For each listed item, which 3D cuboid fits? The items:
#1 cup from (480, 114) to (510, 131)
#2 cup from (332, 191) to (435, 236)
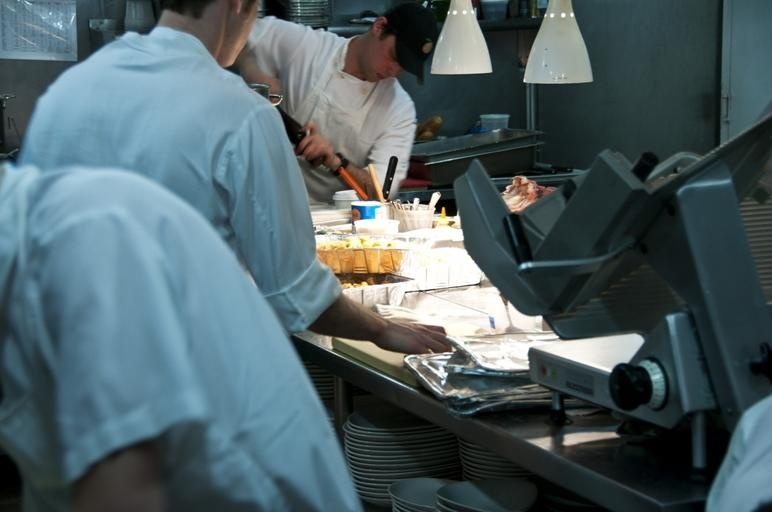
[{"bbox_3d":[0.831,-1.011,4.651,0.210,0.078,0.172,4,9,25],"label":"cup"},{"bbox_3d":[0.029,-0.177,2.662,0.299,0.116,0.199,-2,3,-25],"label":"cup"}]
